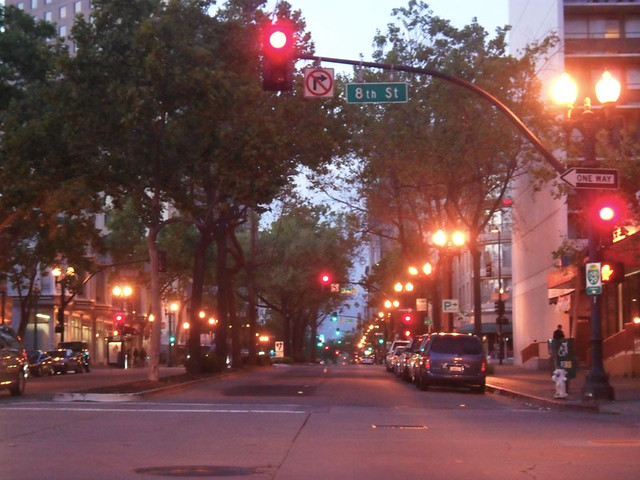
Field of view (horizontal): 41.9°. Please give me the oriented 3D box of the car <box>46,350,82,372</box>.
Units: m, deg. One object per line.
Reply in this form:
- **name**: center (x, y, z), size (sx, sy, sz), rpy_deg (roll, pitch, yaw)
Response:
- **car**: center (-17.375, 8.257, 56.912), size (1.131, 1.750, 3.528), rpy_deg (-4, -12, 12)

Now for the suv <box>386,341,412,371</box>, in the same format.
- **suv**: center (4.901, 6.993, 51.272), size (1.246, 1.251, 2.682), rpy_deg (1, -4, 0)

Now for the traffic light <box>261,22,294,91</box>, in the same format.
- **traffic light**: center (-0.975, -4.189, 19.203), size (0.679, 1.856, 0.664), rpy_deg (-1, -9, -4)

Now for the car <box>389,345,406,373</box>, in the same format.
- **car**: center (4.532, 6.937, 48.953), size (0.988, 1.032, 1.896), rpy_deg (0, -4, 3)

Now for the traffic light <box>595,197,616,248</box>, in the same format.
- **traffic light**: center (8.217, -0.483, 23.789), size (0.551, 1.319, 0.611), rpy_deg (-5, -10, 18)

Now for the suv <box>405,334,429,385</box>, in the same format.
- **suv**: center (4.273, 5.153, 37.315), size (1.072, 1.221, 2.033), rpy_deg (0, -6, 0)

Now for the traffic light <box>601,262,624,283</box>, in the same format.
- **traffic light**: center (8.453, 0.964, 24.183), size (0.549, 0.569, 0.299), rpy_deg (1, 0, -7)

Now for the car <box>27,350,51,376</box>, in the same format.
- **car**: center (-17.627, 7.791, 52.397), size (1.180, 1.716, 3.691), rpy_deg (1, -12, -14)
